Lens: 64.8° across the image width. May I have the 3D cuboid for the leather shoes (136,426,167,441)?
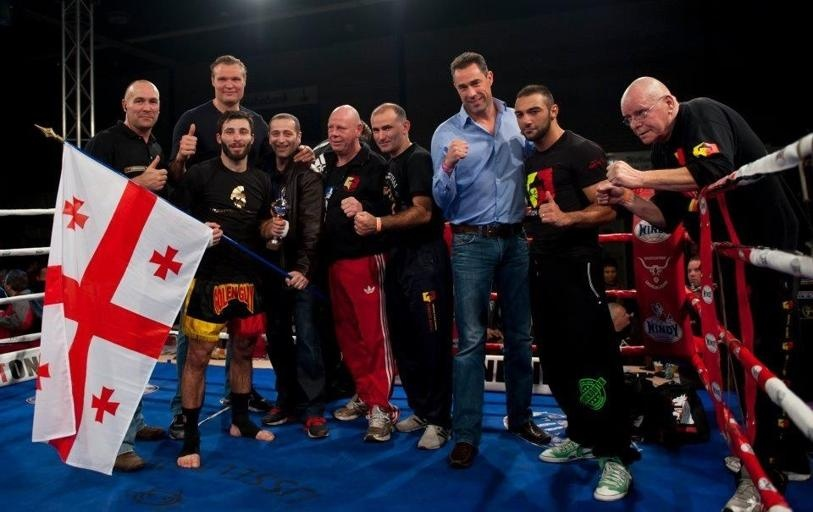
[{"bbox_3d":[-2.146,1.509,5.454,0.211,0.077,0.104,1,1,5],"label":"leather shoes"}]

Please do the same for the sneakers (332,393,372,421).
[{"bbox_3d":[-0.504,1.427,5.996,0.364,0.151,0.143,2,3,-35],"label":"sneakers"}]

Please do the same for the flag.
[{"bbox_3d":[-2.171,0.372,4.817,1.063,2.318,0.783,1,15,10],"label":"flag"}]

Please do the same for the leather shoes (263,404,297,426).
[{"bbox_3d":[-1.149,1.448,5.773,0.122,0.135,0.342,-9,-15,41],"label":"leather shoes"}]

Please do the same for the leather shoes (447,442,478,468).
[{"bbox_3d":[0.433,1.541,5.014,0.228,0.160,0.158,-1,14,1],"label":"leather shoes"}]

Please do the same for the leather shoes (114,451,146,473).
[{"bbox_3d":[-2.129,1.602,4.987,0.223,0.088,0.113,-1,1,21],"label":"leather shoes"}]

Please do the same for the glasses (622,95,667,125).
[{"bbox_3d":[1.715,-1.049,4.664,0.218,0.063,0.207,-35,8,-18],"label":"glasses"}]

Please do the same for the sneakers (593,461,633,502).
[{"bbox_3d":[1.467,1.614,4.642,0.229,0.235,0.250,5,16,25],"label":"sneakers"}]

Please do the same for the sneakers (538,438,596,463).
[{"bbox_3d":[1.232,1.542,5.132,0.517,0.193,0.165,2,-4,0],"label":"sneakers"}]
